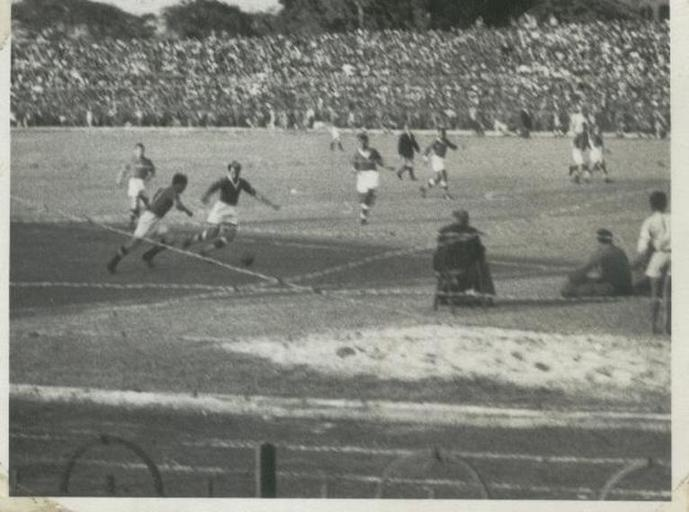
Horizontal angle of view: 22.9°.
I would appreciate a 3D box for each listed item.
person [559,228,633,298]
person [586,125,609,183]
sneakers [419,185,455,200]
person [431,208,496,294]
[{"bbox_3d":[3.515,0.100,23.380,0.814,1.043,1.035,5,0,27],"label":"person"},{"bbox_3d":[3.443,-1.429,23.202,0.190,0.745,0.387,-3,15,16],"label":"person"},{"bbox_3d":[1.294,-0.887,23.225,0.526,0.257,0.178,-1,18,9],"label":"sneakers"},{"bbox_3d":[1.600,-0.089,23.106,0.827,1.333,0.340,2,35,4],"label":"person"}]
